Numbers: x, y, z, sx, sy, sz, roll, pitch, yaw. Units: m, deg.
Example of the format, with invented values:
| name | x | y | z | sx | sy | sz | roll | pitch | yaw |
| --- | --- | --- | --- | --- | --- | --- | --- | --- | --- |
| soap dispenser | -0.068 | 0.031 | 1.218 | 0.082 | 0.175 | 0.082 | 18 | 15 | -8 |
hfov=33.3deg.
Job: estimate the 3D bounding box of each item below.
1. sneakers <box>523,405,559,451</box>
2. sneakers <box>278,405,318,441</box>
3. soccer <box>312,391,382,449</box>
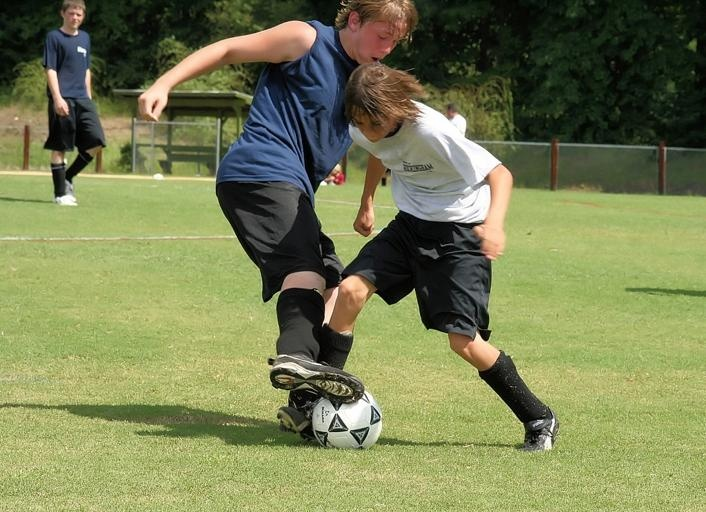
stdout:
| name | x | y | z | sx | sy | sz | roll | pitch | yaw |
| --- | --- | --- | --- | --- | --- | --- | --- | --- | --- |
| sneakers | 1.176 | 1.103 | 7.492 | 0.215 | 0.235 | 0.229 | 5 | 14 | 9 |
| sneakers | -0.345 | 1.050 | 7.504 | 0.130 | 0.346 | 0.151 | 23 | 59 | 29 |
| soccer | -0.048 | 1.053 | 7.455 | 0.414 | 0.358 | 0.367 | -2 | -3 | 1 |
